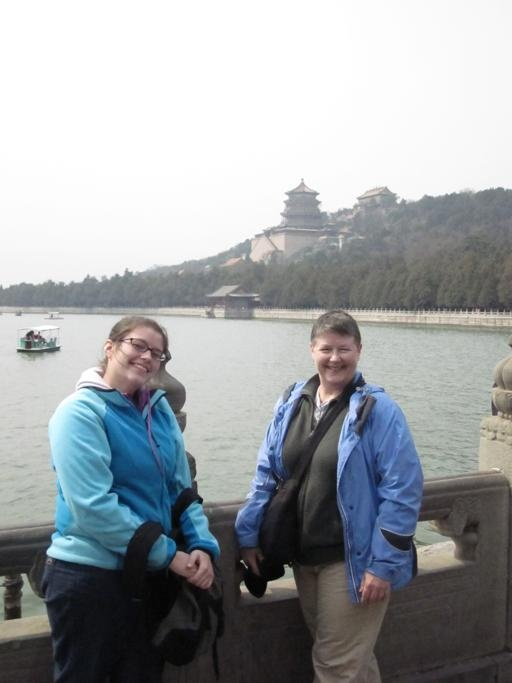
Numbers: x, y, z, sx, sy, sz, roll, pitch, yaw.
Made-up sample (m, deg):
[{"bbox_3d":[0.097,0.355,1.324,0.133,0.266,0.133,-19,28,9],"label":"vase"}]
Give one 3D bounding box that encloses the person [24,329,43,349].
[{"bbox_3d":[-12.447,-0.089,31.987,0.690,1.206,1.097,1,4,-13],"label":"person"}]
